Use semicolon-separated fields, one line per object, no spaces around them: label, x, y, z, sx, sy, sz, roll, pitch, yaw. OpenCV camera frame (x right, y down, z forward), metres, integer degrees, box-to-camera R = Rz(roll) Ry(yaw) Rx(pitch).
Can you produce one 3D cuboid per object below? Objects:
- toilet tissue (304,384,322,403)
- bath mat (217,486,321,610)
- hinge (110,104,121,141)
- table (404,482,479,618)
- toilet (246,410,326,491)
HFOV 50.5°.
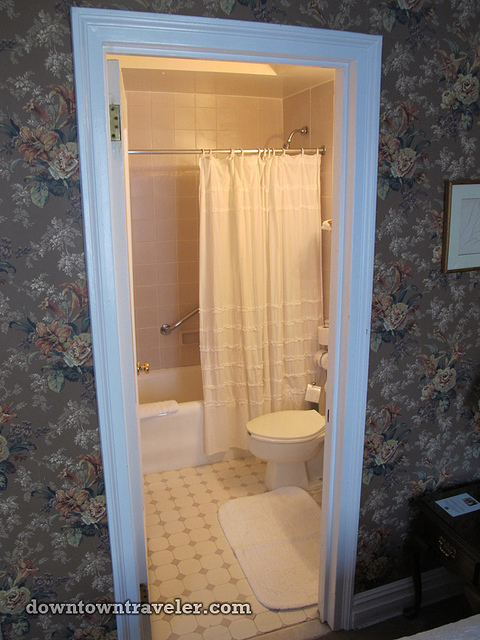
toilet tissue;0.432;0.432;3.056;0.083;0.110;0.111;5;13;-11
bath mat;0.134;1.071;2.371;0.399;0.116;0.852;-5;16;-12
hinge;-0.335;-0.527;1.359;0.028;0.091;0.011;-5;13;-12
table;0.736;0.803;1.803;0.231;0.351;0.285;-2;15;-12
toilet;0.272;0.768;2.939;0.470;0.358;0.438;-2;8;-10
